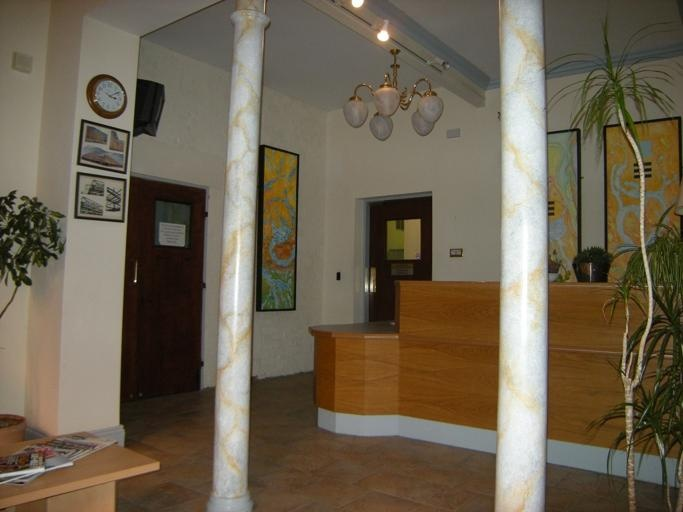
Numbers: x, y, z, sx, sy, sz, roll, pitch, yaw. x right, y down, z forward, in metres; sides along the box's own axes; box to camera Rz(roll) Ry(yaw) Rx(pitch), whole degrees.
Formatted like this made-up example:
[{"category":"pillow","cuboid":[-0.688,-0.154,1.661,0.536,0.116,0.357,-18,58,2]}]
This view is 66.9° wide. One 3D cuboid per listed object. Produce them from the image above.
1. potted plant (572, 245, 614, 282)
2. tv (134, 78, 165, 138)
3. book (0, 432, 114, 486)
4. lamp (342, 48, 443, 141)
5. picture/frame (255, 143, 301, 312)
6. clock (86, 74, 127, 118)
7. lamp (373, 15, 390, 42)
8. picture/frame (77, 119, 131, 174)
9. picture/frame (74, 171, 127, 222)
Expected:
[{"category":"potted plant","cuboid":[2.038,0.065,4.201,0.244,0.282,0.262,1,-5,-3]},{"category":"tv","cuboid":[-2.142,-1.640,5.727,0.301,0.574,0.451,0,0,-24]},{"category":"book","cuboid":[-1.631,1.153,3.026,0.274,0.063,0.511,-5,5,17]},{"category":"lamp","cuboid":[0.549,-1.735,5.325,0.970,0.921,1.007,0,-4,9]},{"category":"picture/frame","cuboid":[-0.937,-0.386,7.527,0.158,2.386,0.834,0,0,33]},{"category":"clock","cuboid":[-2.109,-1.419,4.592,0.039,0.412,0.376,-3,-6,26]},{"category":"lamp","cuboid":[0.454,-2.375,5.410,0.128,0.278,0.134,12,-1,-22]},{"category":"picture/frame","cuboid":[-2.136,-0.970,4.586,0.017,0.490,0.445,-3,-7,44]},{"category":"picture/frame","cuboid":[-2.158,-0.527,4.565,0.404,0.429,0.027,3,-3,-43]}]
